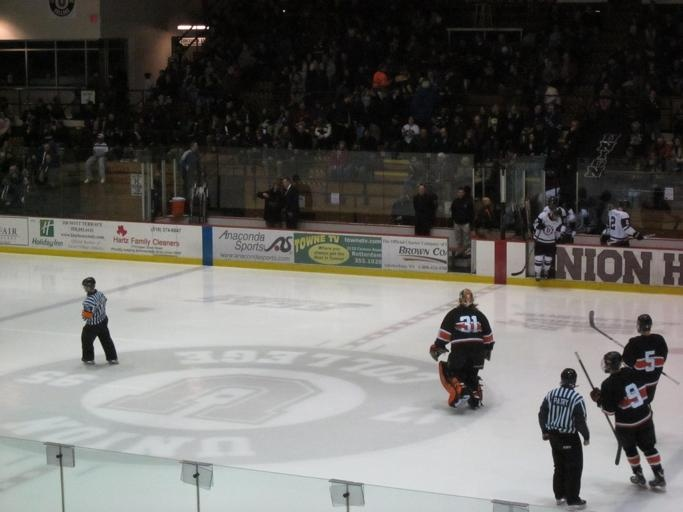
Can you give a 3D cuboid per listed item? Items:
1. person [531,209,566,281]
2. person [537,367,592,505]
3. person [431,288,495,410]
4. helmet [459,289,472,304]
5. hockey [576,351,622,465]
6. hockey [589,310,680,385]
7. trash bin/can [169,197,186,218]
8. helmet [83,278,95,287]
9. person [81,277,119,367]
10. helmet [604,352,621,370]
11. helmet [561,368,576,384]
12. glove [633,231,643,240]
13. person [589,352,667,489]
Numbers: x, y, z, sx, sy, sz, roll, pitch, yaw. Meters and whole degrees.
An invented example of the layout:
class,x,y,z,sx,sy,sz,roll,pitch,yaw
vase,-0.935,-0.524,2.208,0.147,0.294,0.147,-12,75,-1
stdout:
class,x,y,z,sx,sy,sz,roll,pitch,yaw
person,5.456,-0.345,21.683,0.739,2.091,0.551,-2,12,-5
person,2.931,2.436,10.781,0.644,1.823,0.405,3,13,17
person,2.050,1.610,13.830,1.033,2.050,0.521,0,12,1
helmet,2.112,0.690,13.827,0.170,0.224,0.246,0,0,9
hockey,3.871,2.357,12.296,0.177,2.057,0.106,-34,19,-10
hockey,5.262,1.668,14.710,2.366,0.370,0.197,30,-44,-11
trash bin/can,-5.314,-1.570,26.856,0.559,0.698,0.559,-2,5,-30
helmet,-4.907,0.524,15.996,0.212,0.173,0.256,1,-3,24
person,-4.762,1.271,16.052,0.625,1.771,0.623,-7,14,-27
helmet,3.722,1.426,11.205,0.209,0.242,0.208,3,0,4
helmet,2.986,1.586,10.800,0.162,0.196,0.210,15,20,42
glove,7.775,-0.515,21.402,0.260,0.202,0.103,29,-6,-34
person,4.010,2.265,11.514,0.776,2.084,0.712,-8,15,24
